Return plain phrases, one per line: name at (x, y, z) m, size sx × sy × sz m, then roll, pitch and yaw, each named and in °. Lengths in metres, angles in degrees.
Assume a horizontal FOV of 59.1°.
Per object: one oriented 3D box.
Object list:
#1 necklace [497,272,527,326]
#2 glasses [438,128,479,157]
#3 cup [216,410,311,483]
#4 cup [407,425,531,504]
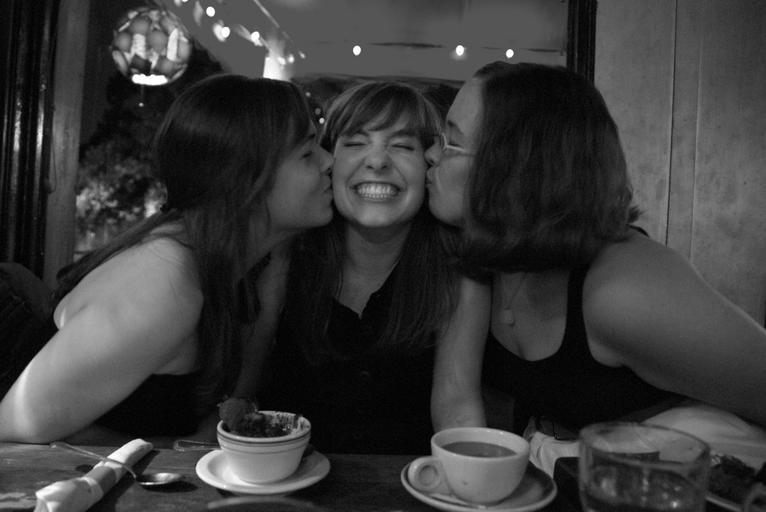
necklace at (0.388, 0.132, 2.037) m, size 0.049 × 0.130 × 0.100 m, roll 16°, pitch 13°, yaw 16°
glasses at (0.221, -0.330, 2.001) m, size 0.107 × 0.040 × 0.079 m, roll 6°, pitch 35°, yaw -13°
cup at (-0.252, 0.403, 1.418) m, size 0.151 × 0.091 × 0.151 m, roll 0°, pitch 10°, yaw 0°
cup at (0.176, 0.425, 1.385) m, size 0.194 × 0.086 × 0.150 m, roll -3°, pitch 7°, yaw -5°
